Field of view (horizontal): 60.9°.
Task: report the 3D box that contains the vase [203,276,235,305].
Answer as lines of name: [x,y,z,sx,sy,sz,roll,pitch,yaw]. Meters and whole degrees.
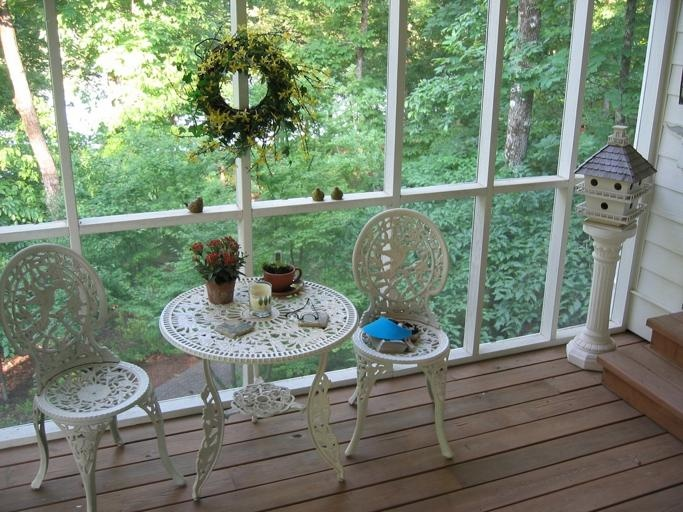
vase: [-0.644,0.190,3.098,0.144,0.107,0.139,2,8,-1]

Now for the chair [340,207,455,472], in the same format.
chair: [0.349,0.428,3.390,0.555,1.260,0.762,-1,24,8]

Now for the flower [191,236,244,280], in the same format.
flower: [-0.644,-0.002,3.099,0.249,0.181,0.264,0,35,-1]

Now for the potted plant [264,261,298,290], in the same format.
potted plant: [-0.336,0.108,3.207,0.150,0.106,0.142,6,18,15]

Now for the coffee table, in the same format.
coffee table: [-0.427,0.741,3.142,0.889,0.723,0.893,2,10,7]

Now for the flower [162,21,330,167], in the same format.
flower: [-0.564,-0.854,3.310,0.764,0.835,0.249,-10,20,-12]
